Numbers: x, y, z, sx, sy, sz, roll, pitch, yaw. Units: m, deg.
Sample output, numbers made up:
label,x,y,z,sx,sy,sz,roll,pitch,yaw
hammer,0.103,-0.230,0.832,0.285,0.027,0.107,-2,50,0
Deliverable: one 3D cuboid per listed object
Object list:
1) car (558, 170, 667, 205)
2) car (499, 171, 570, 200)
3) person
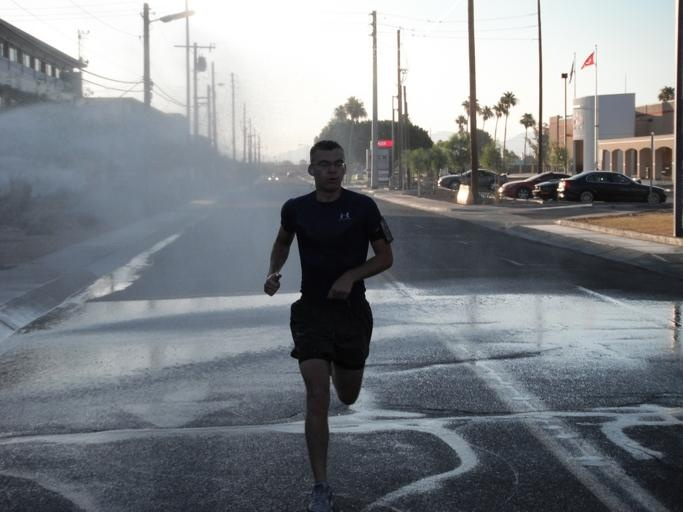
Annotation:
label,x,y,z,sx,sy,sz,roll,pitch,yaw
car,14.801,-3.884,34.619,4.458,1.748,1.172,1,6,11
car,12.656,-4.738,40.286,4.011,1.600,1.867,0,4,6
person,-0.229,0.361,4.282,0.902,2.345,0.963,3,6,33
